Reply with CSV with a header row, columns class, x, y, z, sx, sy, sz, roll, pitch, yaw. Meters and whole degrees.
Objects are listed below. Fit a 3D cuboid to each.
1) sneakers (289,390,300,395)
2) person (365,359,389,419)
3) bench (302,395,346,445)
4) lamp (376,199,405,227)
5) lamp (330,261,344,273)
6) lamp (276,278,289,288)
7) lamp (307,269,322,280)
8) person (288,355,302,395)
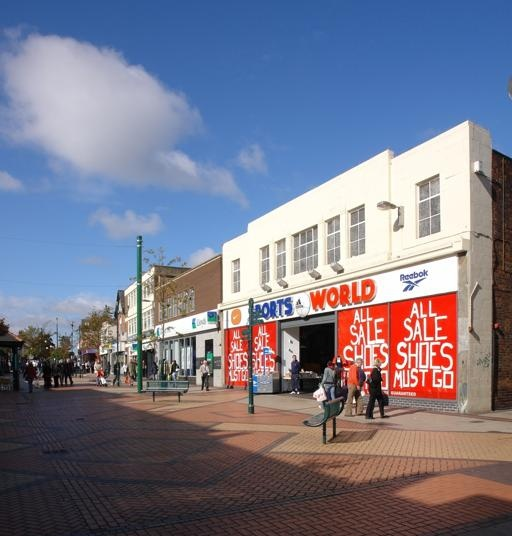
class,x,y,z,sx,sy,sz,roll,pitch,yaw
sneakers,1.474,4.820,23.641,0.354,0.181,0.148,0,-12,20
person,3.088,3.174,15.979,0.475,1.493,0.961,-3,-10,13
bench,1.431,3.134,12.662,0.677,0.854,3.107,-2,-12,8
lamp,4.261,-1.685,19.292,0.731,1.143,0.703,-1,-5,-8
lamp,2.858,0.005,21.782,0.196,0.340,0.416,-22,-37,31
lamp,1.114,0.664,25.757,0.198,0.370,0.342,6,-13,-26
lamp,2.218,0.254,23.322,0.399,0.539,0.819,1,-11,-8
person,1.513,4.194,24.012,0.410,1.524,1.368,-1,-10,3
